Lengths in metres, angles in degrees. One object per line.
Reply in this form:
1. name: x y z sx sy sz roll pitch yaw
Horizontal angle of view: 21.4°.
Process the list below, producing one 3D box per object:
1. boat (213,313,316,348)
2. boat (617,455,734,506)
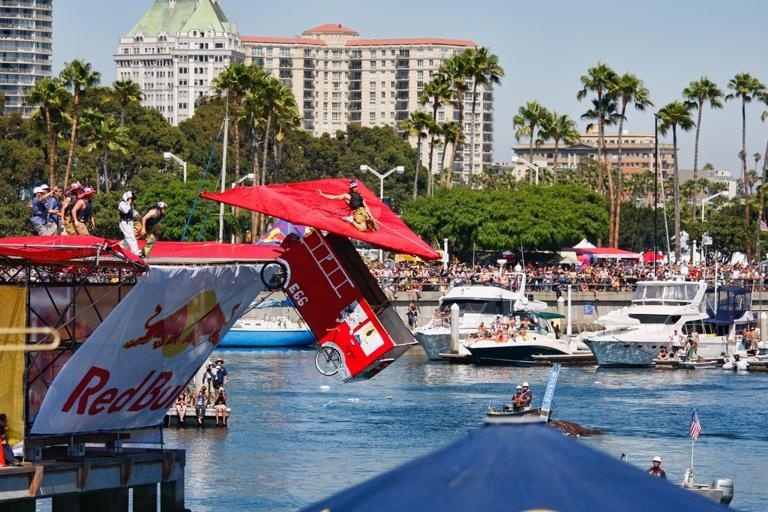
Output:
1. boat: -10.354 7.594 183.281 11.349 3.635 3.763 -1 3 -4
2. boat: 23.047 16.565 146.762 5.038 3.543 7.523 1 0 42
